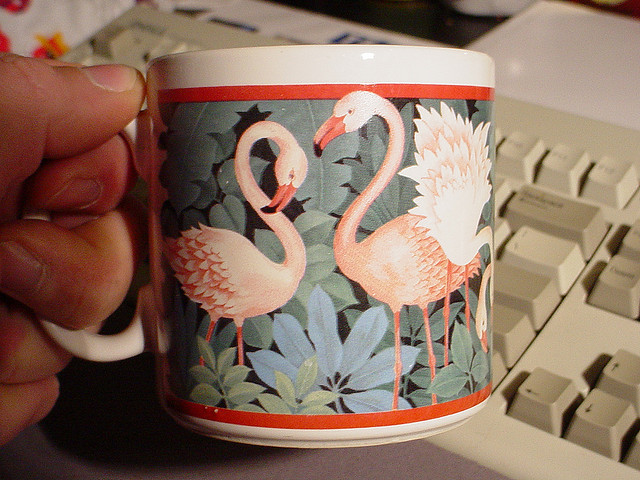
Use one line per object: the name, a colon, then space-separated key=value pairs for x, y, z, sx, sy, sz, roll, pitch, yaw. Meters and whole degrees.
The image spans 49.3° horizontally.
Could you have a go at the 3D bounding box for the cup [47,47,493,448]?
cup: x=-0.058 y=0.002 z=0.760 sx=0.453 sy=0.347 sz=0.379 roll=-1 pitch=98 yaw=-5
